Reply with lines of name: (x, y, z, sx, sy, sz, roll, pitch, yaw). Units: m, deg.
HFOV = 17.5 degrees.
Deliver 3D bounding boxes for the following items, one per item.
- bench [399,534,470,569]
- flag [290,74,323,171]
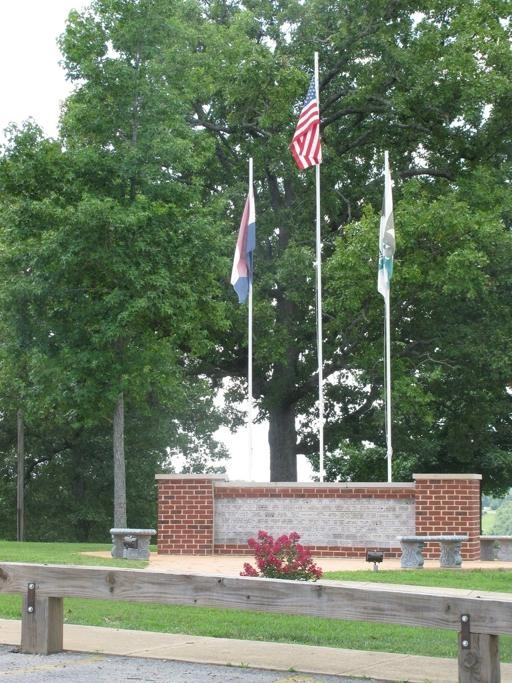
bench: (3.209, 3.800, 29.841, 1.147, 0.689, 2.213, -3, -11, 13)
flag: (1.082, -4.707, 35.557, 0.571, 2.067, 0.618, -1, -10, 1)
